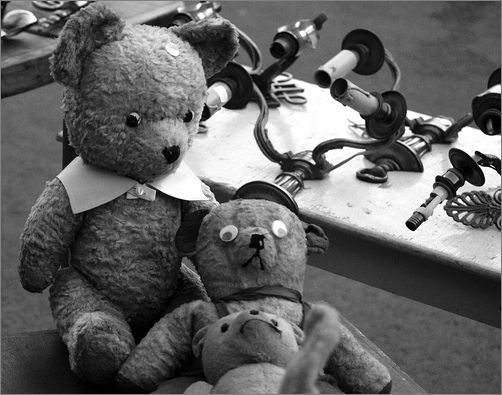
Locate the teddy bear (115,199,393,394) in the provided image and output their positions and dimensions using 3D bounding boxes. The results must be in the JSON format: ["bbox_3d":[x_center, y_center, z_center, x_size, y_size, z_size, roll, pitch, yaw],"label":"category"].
[{"bbox_3d":[0.006,0.109,0.956,0.401,0.279,0.342,-1,79,-5],"label":"teddy bear"}]
